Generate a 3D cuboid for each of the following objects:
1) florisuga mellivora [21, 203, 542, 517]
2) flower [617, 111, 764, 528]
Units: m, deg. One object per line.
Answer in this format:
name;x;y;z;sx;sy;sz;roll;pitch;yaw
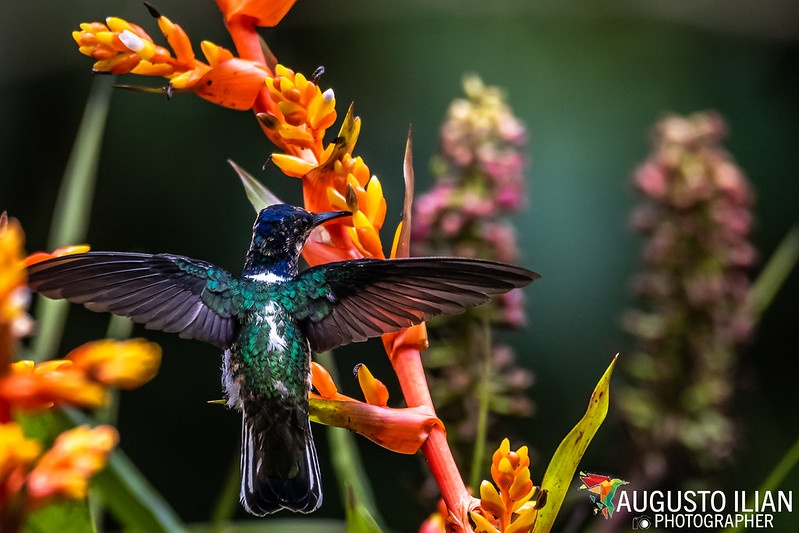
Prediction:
florisuga mellivora;-0.126;0.084;1.041;0.600;0.261;0.377;1;21;-14
flower;0.417;0.042;1.244;0.171;0.536;0.182;4;8;18
